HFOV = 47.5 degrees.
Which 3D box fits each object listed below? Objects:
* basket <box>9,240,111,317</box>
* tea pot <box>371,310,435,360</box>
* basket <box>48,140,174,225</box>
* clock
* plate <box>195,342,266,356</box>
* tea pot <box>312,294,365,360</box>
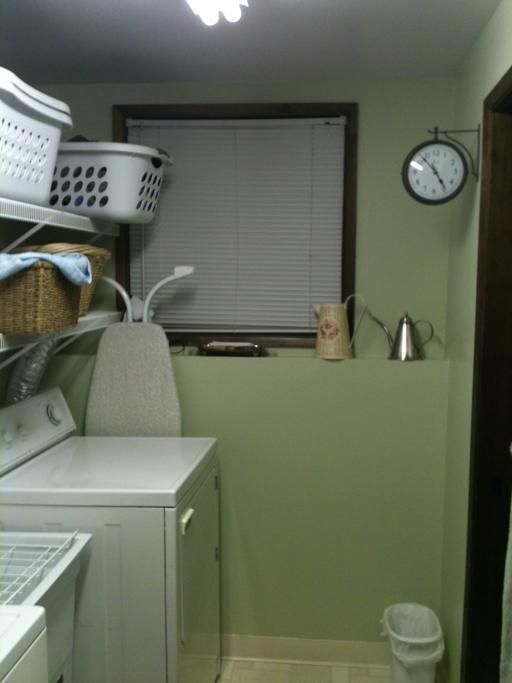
[{"bbox_3d":[-0.576,-0.151,1.680,0.251,0.202,0.253,-5,31,-34],"label":"basket"},{"bbox_3d":[0.579,-0.023,2.306,0.261,0.194,0.157,2,10,11],"label":"tea pot"},{"bbox_3d":[-0.516,-0.552,2.055,0.341,0.205,0.275,9,4,1],"label":"basket"},{"bbox_3d":[0.561,-0.568,1.813,0.199,0.279,0.158,3,3,18],"label":"clock"},{"bbox_3d":[-0.107,0.029,2.377,0.266,0.062,0.103,0,11,1],"label":"plate"},{"bbox_3d":[0.323,-0.058,2.312,0.174,0.251,0.134,-2,10,-11],"label":"tea pot"}]
